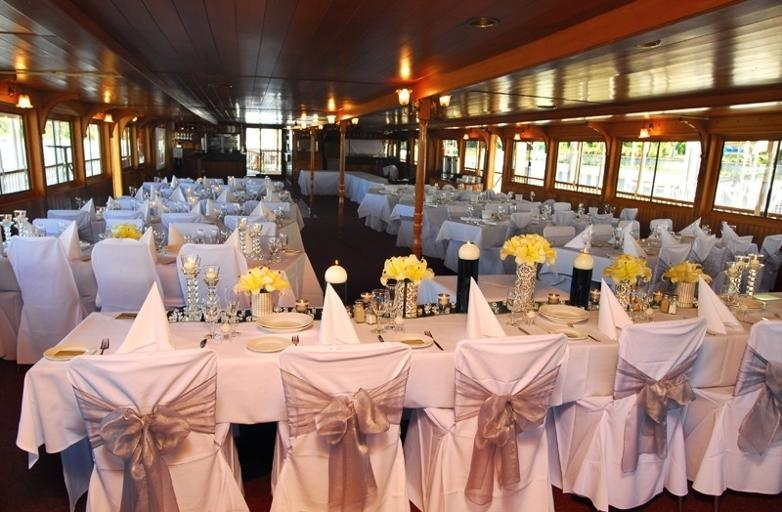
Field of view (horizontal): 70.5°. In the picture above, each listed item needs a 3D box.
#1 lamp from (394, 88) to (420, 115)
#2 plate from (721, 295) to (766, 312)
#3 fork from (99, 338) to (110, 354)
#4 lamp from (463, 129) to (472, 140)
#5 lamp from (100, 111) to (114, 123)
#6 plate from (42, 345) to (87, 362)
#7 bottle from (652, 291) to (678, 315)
[{"bbox_3d":[0.218,-2.176,7.788,0.410,0.463,0.307,-9,16,-35],"label":"lamp"},{"bbox_3d":[3.277,0.445,5.146,0.220,0.056,0.227,-5,12,-9],"label":"plate"},{"bbox_3d":[-2.176,0.685,4.212,0.060,0.117,0.031,-2,-17,1],"label":"fork"},{"bbox_3d":[2.477,-3.902,17.786,0.281,0.201,0.291,-3,6,-15],"label":"lamp"},{"bbox_3d":[-6.704,-3.300,13.059,0.342,0.225,0.352,14,20,27],"label":"lamp"},{"bbox_3d":[-2.376,0.713,4.063,0.295,0.057,0.190,0,10,2],"label":"plate"},{"bbox_3d":[2.534,0.434,5.105,0.191,0.191,0.194,8,14,39],"label":"bottle"}]
